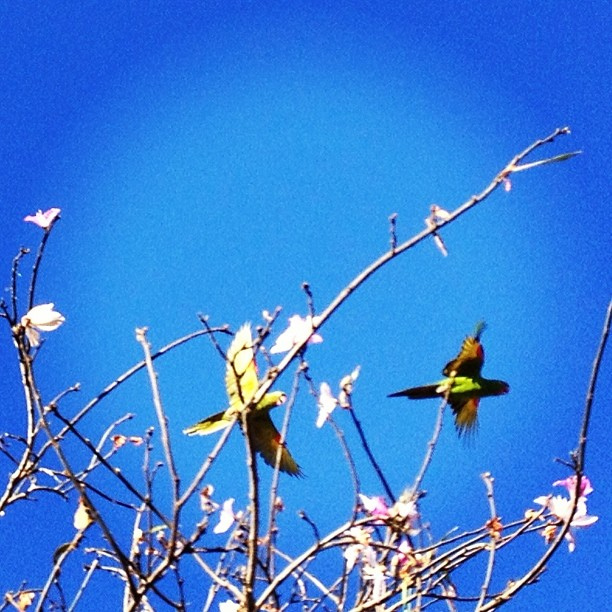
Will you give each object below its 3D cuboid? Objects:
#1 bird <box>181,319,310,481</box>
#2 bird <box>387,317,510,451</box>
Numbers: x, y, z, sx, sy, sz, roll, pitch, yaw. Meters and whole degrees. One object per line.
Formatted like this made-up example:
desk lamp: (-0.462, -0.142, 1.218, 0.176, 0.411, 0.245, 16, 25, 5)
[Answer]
bird: (-0.126, 0.198, 2.940, 0.187, 0.337, 0.080, -2, -59, -22)
bird: (0.290, 0.163, 3.098, 0.222, 0.275, 0.105, 2, -40, 5)
